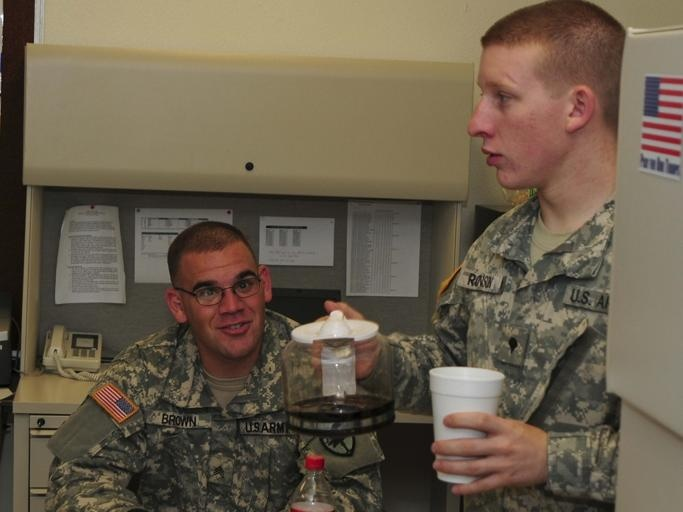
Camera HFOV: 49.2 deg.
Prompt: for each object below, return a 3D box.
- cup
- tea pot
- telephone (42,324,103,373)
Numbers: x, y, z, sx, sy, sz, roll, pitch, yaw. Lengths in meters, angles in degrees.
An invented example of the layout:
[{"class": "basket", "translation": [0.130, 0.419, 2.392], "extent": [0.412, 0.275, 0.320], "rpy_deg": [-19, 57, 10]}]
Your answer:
[{"class": "cup", "translation": [0.243, 0.293, 1.463], "extent": [0.145, 0.139, 0.116], "rpy_deg": [1, 1, 25]}, {"class": "tea pot", "translation": [-0.016, 0.224, 1.584], "extent": [0.248, 0.294, 0.248], "rpy_deg": [-2, -5, 0]}, {"class": "telephone", "translation": [-1.047, 0.362, 2.927], "extent": [0.249, 0.095, 0.277], "rpy_deg": [1, 20, -34]}]
